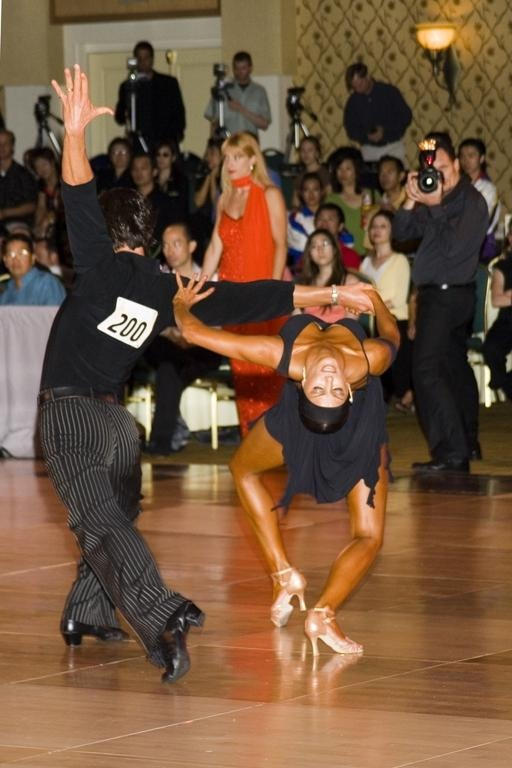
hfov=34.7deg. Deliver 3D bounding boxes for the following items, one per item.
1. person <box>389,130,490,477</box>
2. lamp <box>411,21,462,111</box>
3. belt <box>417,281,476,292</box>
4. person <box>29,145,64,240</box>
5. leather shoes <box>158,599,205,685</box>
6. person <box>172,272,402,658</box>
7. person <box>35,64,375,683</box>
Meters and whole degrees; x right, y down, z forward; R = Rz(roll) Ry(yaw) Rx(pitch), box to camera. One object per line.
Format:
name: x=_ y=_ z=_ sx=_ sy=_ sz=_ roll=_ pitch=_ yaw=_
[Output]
person: x=1.182 y=-0.443 z=5.015 sx=0.581 sy=2.032 sz=0.549 roll=6 pitch=19 yaw=13
lamp: x=2.077 y=-3.598 z=9.365 sx=0.523 sy=0.826 sz=0.584 roll=10 pitch=22 yaw=39
belt: x=1.179 y=-0.606 z=5.045 sx=0.361 sy=0.066 sz=0.191 roll=2 pitch=15 yaw=4
person: x=-2.150 y=-1.888 z=8.366 sx=0.380 sy=0.893 sz=0.728 roll=2 pitch=-20 yaw=-18
leather shoes: x=-0.169 y=0.584 z=1.861 sx=0.098 sy=0.242 sz=0.133 roll=1 pitch=18 yaw=-3
person: x=0.113 y=0.192 z=2.264 sx=0.723 sy=0.972 sz=0.447 roll=-1 pitch=9 yaw=3
person: x=-0.284 y=0.071 z=1.975 sx=0.563 sy=1.558 sz=0.579 roll=8 pitch=20 yaw=19
